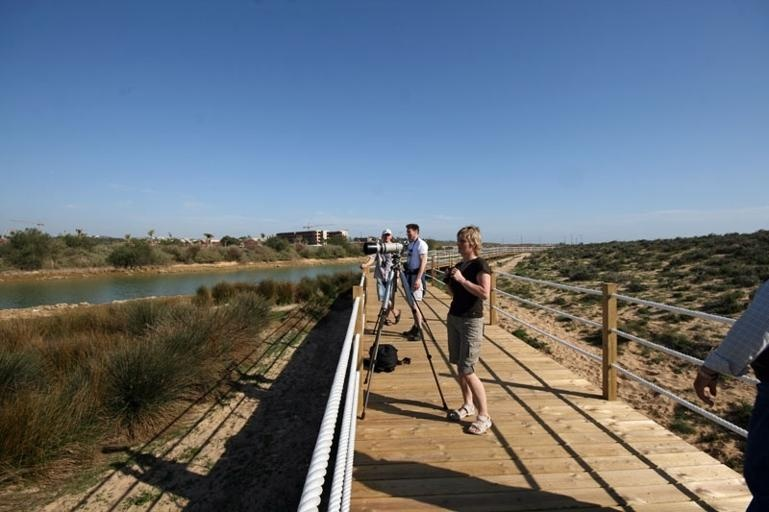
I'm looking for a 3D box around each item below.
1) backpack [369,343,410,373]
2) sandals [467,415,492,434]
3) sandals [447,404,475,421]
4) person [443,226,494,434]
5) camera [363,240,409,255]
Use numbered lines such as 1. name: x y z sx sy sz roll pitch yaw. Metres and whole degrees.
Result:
1. backpack: 0.030 1.641 6.383 0.763 0.334 0.541 2 -6 -2
2. sandals: 1.146 2.032 4.740 0.176 0.126 0.337 -19 -23 35
3. sandals: 0.970 1.986 4.997 0.336 0.114 0.183 4 -10 -25
4. person: 1.011 0.868 4.670 0.584 2.546 0.745 0 15 9
5. camera: 0.051 -0.109 6.098 0.794 0.214 0.208 0 -28 -36
